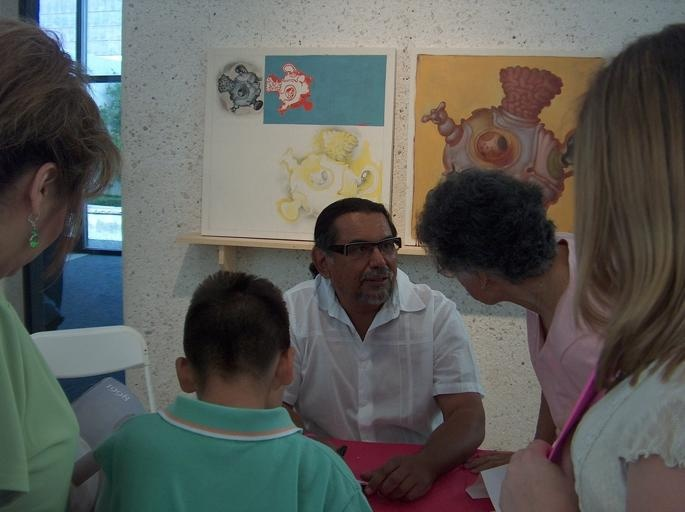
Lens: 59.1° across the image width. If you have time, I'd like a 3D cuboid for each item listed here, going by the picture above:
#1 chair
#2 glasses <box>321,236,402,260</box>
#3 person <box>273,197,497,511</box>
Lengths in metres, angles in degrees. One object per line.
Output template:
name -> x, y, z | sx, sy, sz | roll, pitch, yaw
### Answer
chair -> -1.102, 0.549, 2.661 | 0.291, 0.404, 0.284 | -7, 6, -7
glasses -> 0.080, -0.045, 2.371 | 0.296, 0.083, 0.128 | 4, 6, -2
person -> 0.097, 0.428, 2.304 | 0.818, 1.209, 1.145 | -1, 13, 5
